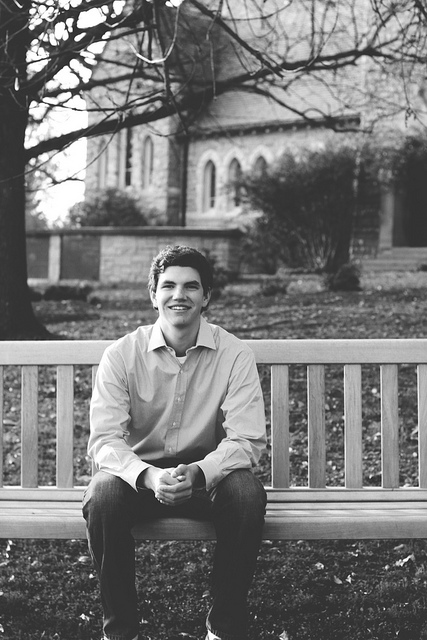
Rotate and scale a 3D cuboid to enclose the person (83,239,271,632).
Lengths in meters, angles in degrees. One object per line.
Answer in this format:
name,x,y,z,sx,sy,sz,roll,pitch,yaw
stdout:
person,-0.141,0.422,5.216,0.661,1.394,0.468,-1,-1,1
